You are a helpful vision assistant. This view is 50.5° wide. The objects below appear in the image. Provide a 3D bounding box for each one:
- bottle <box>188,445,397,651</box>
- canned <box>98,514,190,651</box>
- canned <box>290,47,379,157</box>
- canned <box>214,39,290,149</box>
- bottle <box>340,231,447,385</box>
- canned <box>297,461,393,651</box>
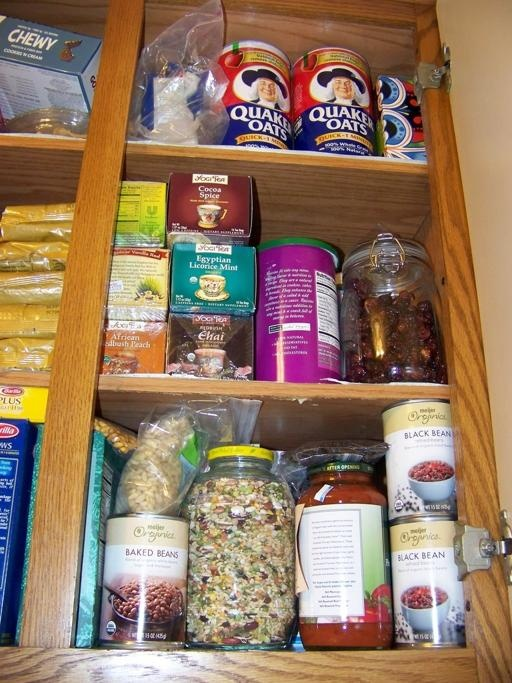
[{"bbox_3d":[0.042,0.247,0.659,0.300,0.274,0.153,0,-16,-2],"label":"bottle"},{"bbox_3d":[-0.116,0.251,0.576,0.127,0.133,0.122,6,-26,-11],"label":"canned"},{"bbox_3d":[0.125,-0.378,0.924,0.124,0.188,0.125,-6,-14,28],"label":"canned"},{"bbox_3d":[-0.009,-0.395,0.904,0.105,0.160,0.105,-3,7,-33],"label":"canned"},{"bbox_3d":[0.208,-0.030,0.832,0.151,0.227,0.165,-2,-5,0],"label":"bottle"},{"bbox_3d":[0.108,0.261,0.675,0.138,0.204,0.134,11,-22,-30],"label":"canned"}]
